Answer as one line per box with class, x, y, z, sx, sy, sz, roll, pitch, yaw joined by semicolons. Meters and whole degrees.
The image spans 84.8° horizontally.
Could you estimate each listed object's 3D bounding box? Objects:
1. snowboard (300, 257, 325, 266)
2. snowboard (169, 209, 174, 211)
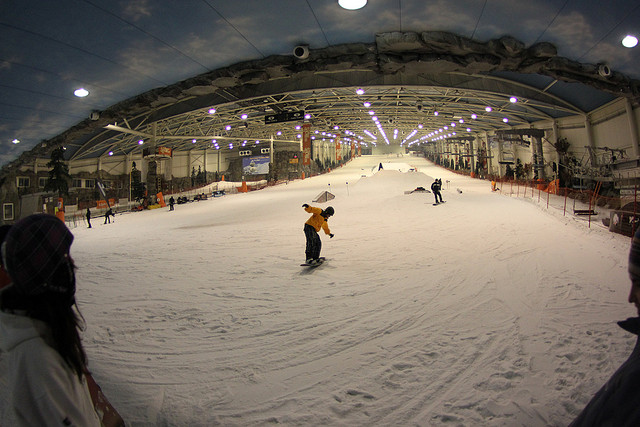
snowboard;-0.182;1.665;12.232;0.934;0.287;0.270;8;-11;-31
snowboard;-13.401;-0.388;31.961;0.365;0.314;0.111;6;-11;14
